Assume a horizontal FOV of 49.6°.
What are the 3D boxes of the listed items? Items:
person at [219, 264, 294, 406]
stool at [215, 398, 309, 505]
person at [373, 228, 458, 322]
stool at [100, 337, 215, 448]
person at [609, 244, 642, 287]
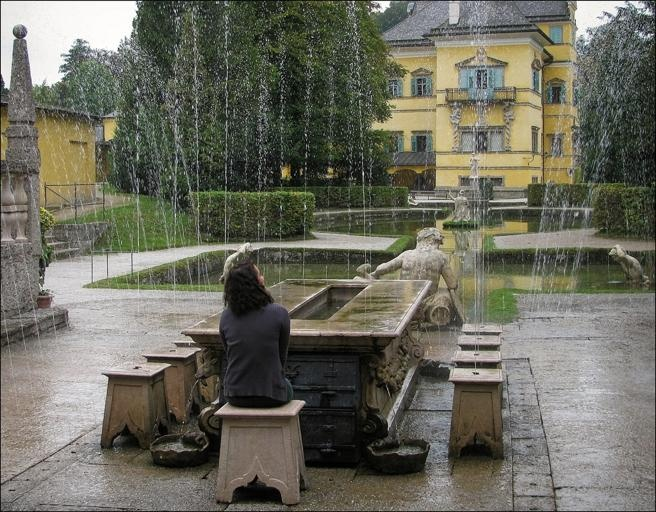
[{"bbox_3d":[-0.543,0.590,5.331,0.521,1.071,0.288,-2,5,-5],"label":"person"},{"bbox_3d":[-0.478,1.464,5.538,0.639,0.681,0.675,-1,0,6],"label":"stool"},{"bbox_3d":[1.552,0.356,10.897,0.789,1.539,1.598,2,6,38],"label":"person"},{"bbox_3d":[-1.603,1.334,6.817,0.618,0.708,1.237,-1,5,16],"label":"stool"},{"bbox_3d":[6.855,0.231,16.025,1.187,0.742,0.304,14,-22,-18],"label":"person"}]
